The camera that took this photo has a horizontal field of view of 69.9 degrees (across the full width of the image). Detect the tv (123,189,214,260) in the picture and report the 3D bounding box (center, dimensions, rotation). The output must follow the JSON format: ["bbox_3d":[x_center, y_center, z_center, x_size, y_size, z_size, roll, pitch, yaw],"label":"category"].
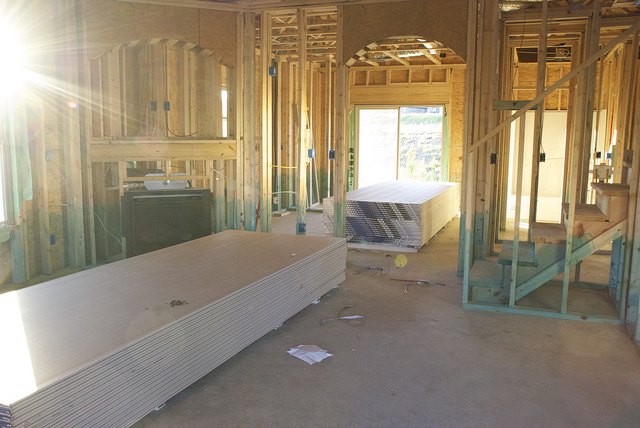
[{"bbox_3d":[-2.264,0.033,6.703,1.184,1.018,0.743,-5,19,-24],"label":"tv"}]
